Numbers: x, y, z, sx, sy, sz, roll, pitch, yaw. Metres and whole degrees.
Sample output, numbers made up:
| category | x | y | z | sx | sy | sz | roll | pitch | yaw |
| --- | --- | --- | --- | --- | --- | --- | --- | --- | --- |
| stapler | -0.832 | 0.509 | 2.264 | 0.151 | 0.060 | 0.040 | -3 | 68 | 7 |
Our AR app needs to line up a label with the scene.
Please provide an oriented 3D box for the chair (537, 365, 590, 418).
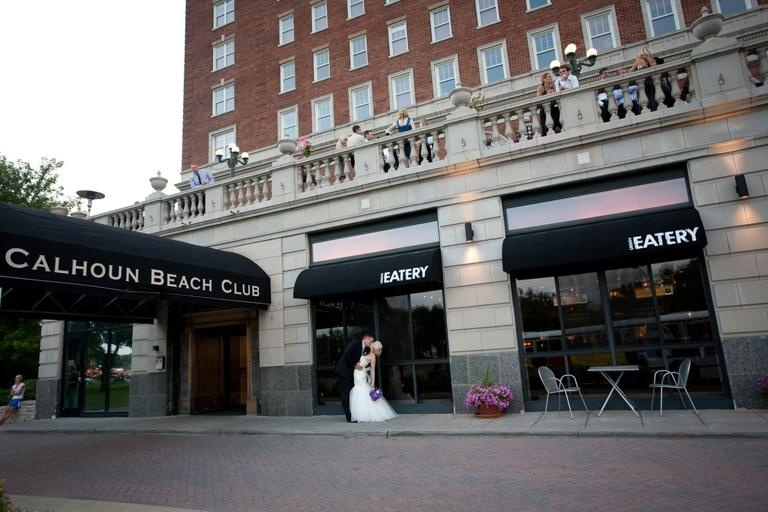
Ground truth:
| category | x | y | z | sx | sy | sz | roll | pitch | yaw |
| --- | --- | --- | --- | --- | --- | --- | --- | --- | --- |
| chair | 5.250 | 3.856 | 17.420 | 1.301 | 1.543 | 1.549 | -3 | 3 | 18 |

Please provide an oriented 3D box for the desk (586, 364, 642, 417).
| category | x | y | z | sx | sy | sz | roll | pitch | yaw |
| --- | --- | --- | --- | --- | --- | --- | --- | --- | --- |
| desk | 6.637 | 3.807 | 17.398 | 1.135 | 1.309 | 1.346 | -11 | 8 | 24 |

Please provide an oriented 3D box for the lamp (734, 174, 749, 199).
| category | x | y | z | sx | sy | sz | roll | pitch | yaw |
| --- | --- | --- | --- | --- | --- | --- | --- | --- | --- |
| lamp | 10.071 | -1.987 | 16.840 | 0.347 | 0.666 | 0.256 | -3 | 3 | 20 |

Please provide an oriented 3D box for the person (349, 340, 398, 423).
| category | x | y | z | sx | sy | sz | roll | pitch | yaw |
| --- | --- | --- | --- | --- | --- | --- | --- | --- | --- |
| person | -0.484 | 3.963 | 18.871 | 1.172 | 2.302 | 1.268 | -1 | 4 | 43 |

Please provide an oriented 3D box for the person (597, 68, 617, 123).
| category | x | y | z | sx | sy | sz | roll | pitch | yaw |
| --- | --- | --- | --- | --- | --- | --- | --- | --- | --- |
| person | 7.197 | -5.204 | 19.140 | 0.384 | 1.614 | 0.359 | -15 | 5 | -19 |

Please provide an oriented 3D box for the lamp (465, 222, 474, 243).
| category | x | y | z | sx | sy | sz | roll | pitch | yaw |
| --- | --- | --- | --- | --- | --- | --- | --- | --- | --- |
| lamp | 2.702 | -0.785 | 19.170 | 0.283 | 0.631 | 0.264 | -4 | 3 | 6 |

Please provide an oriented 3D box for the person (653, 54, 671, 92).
| category | x | y | z | sx | sy | sz | roll | pitch | yaw |
| --- | --- | --- | --- | --- | --- | --- | --- | --- | --- |
| person | 8.523 | -5.526 | 18.414 | 0.449 | 1.540 | 1.309 | -3 | 3 | 24 |

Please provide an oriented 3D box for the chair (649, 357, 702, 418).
| category | x | y | z | sx | sy | sz | roll | pitch | yaw |
| --- | --- | --- | --- | --- | --- | --- | --- | --- | --- |
| chair | 8.097 | 3.642 | 16.733 | 1.219 | 1.501 | 1.050 | -1 | -8 | 24 |

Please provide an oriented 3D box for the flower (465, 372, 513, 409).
| category | x | y | z | sx | sy | sz | roll | pitch | yaw |
| --- | --- | --- | --- | --- | --- | --- | --- | --- | --- |
| flower | 3.150 | 4.232 | 18.311 | 1.239 | 0.815 | 1.153 | -12 | -11 | 40 |
